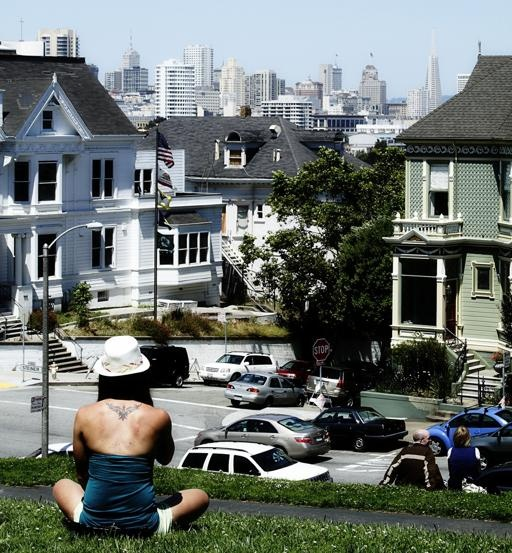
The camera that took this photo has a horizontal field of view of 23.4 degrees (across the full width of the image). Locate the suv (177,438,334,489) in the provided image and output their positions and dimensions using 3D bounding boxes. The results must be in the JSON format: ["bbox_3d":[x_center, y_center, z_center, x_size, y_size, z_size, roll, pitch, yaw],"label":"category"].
[{"bbox_3d":[-0.022,3.802,23.925,3.255,1.217,1.445,-3,5,31],"label":"suv"}]

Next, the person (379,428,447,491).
[{"bbox_3d":[2.332,2.660,18.159,0.846,0.941,0.867,1,-2,7],"label":"person"}]

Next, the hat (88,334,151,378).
[{"bbox_3d":[-1.233,0.694,11.123,0.404,0.374,0.395,1,-3,-30],"label":"hat"}]

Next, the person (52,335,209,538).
[{"bbox_3d":[-1.142,1.415,11.080,1.093,1.750,0.669,2,-2,-11],"label":"person"}]

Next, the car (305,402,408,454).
[{"bbox_3d":[2.456,4.009,34.042,3.082,0.939,1.524,0,2,30],"label":"car"}]

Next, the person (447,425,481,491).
[{"bbox_3d":[3.215,2.745,18.964,0.472,0.961,0.696,1,-2,9],"label":"person"}]
